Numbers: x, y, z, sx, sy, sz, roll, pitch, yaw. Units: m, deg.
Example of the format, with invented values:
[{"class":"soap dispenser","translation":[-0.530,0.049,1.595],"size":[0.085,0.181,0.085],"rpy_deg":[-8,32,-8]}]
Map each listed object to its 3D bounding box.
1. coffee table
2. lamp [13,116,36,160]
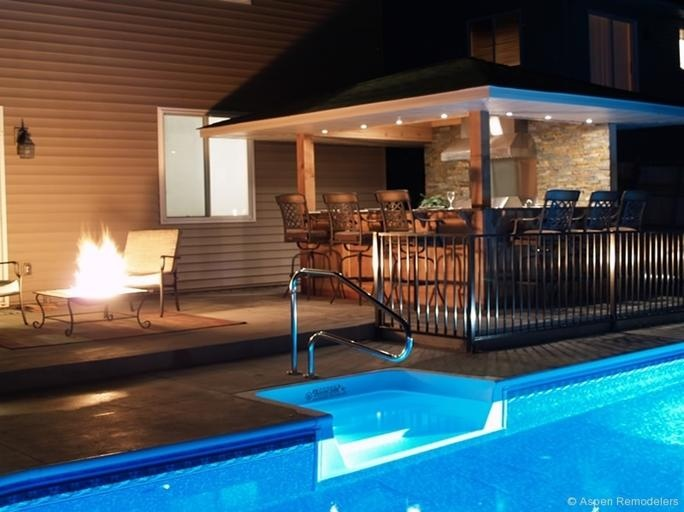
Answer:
[{"class":"coffee table","translation":[-2.902,0.540,5.826],"size":[0.829,0.390,1.247],"rpy_deg":[0,0,40]},{"class":"lamp","translation":[-4.740,-1.727,7.591],"size":[0.260,0.576,0.439],"rpy_deg":[2,13,-31]}]
